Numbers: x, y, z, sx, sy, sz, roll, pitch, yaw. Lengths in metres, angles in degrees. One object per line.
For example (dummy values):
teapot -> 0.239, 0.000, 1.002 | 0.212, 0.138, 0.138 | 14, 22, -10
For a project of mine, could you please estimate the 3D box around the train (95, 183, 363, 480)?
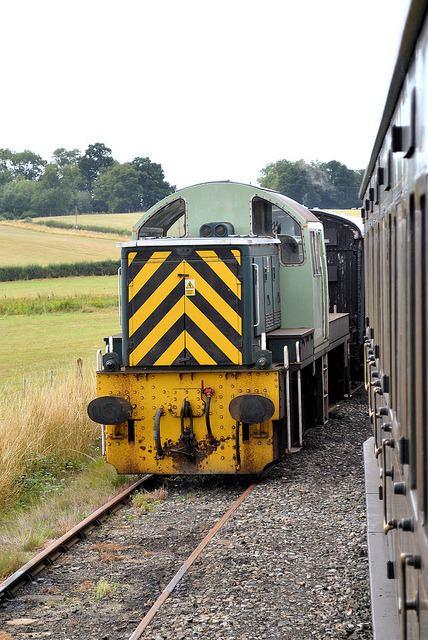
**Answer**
train -> 1.065, -0.214, 11.838 | 2.636, 4.330, 9.961 | 0, 4, 17
